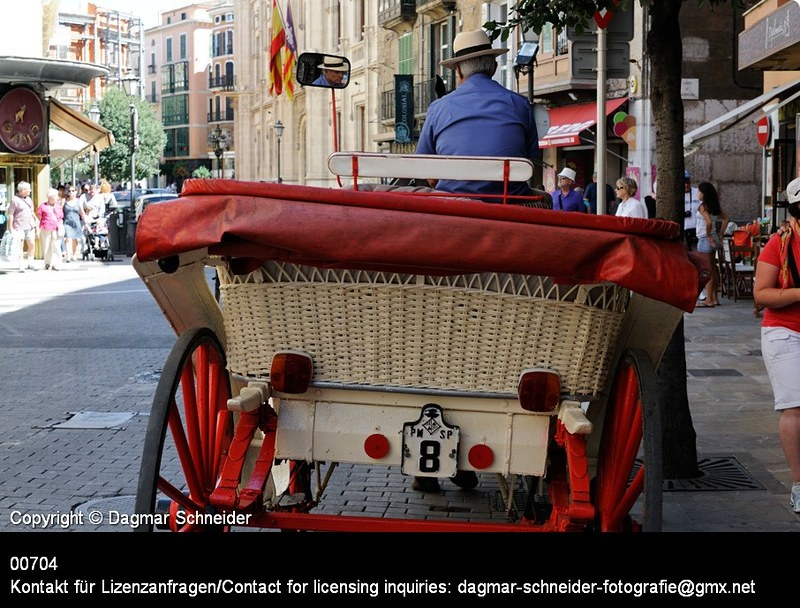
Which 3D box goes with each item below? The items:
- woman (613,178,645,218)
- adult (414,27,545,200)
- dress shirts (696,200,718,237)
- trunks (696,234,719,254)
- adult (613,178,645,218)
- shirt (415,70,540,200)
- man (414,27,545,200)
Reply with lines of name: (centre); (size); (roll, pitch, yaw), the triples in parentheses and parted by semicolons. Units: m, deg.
woman: (3.442, -1.611, 15.586); (0.392, 0.733, 0.724); (-4, 9, -8)
adult: (0.469, -1.095, 6.265); (0.663, 1.108, 0.857); (0, -5, -15)
dress shirts: (4.920, -1.432, 16.808); (0.399, 0.795, 0.608); (-1, 5, 26)
trunks: (4.974, -0.971, 16.660); (0.371, 0.396, 0.274); (-3, -2, -3)
adult: (3.442, -1.613, 15.583); (0.384, 0.723, 0.734); (-4, 9, -5)
shirt: (0.477, -0.835, 6.251); (0.704, 1.064, 0.998); (-2, -11, 1)
man: (0.472, -1.145, 6.102); (0.812, 1.317, 1.034); (1, 2, 5)
